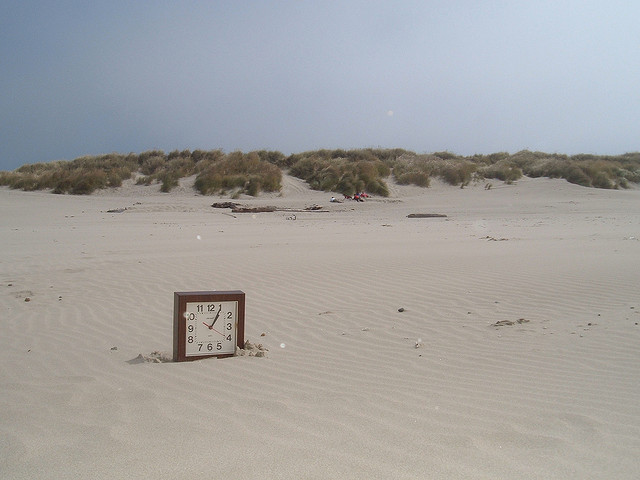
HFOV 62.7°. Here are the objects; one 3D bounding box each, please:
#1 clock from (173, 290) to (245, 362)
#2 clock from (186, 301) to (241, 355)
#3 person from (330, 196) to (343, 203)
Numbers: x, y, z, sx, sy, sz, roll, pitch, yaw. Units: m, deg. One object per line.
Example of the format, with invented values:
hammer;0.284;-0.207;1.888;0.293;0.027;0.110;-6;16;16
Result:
clock;-1.421;1.092;6.572;0.867;0.840;0.283;0;-1;-24
clock;-1.383;1.098;6.593;0.733;0.690;0.078;1;-1;-25
person;0.794;-2.145;28.700;0.598;0.180;0.973;-4;10;-20
